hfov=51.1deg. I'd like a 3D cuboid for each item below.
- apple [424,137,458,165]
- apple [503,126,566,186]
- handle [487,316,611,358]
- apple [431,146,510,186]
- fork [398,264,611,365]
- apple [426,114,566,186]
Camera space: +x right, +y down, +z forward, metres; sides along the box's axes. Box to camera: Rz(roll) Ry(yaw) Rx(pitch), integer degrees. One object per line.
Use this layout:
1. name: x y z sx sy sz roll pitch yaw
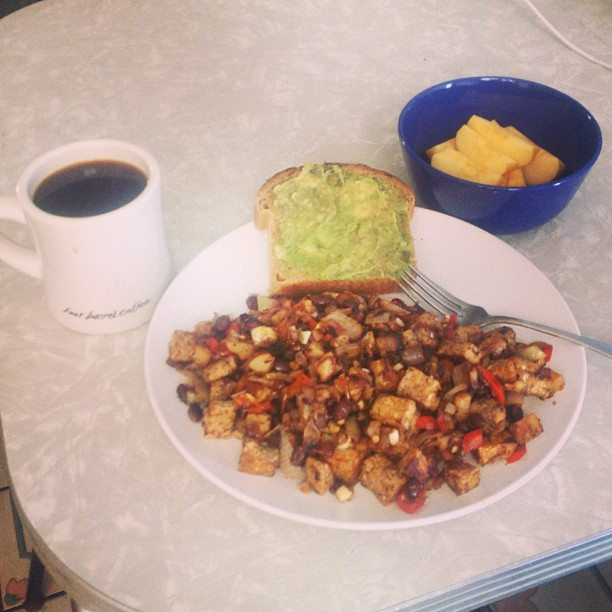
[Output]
1. apple: 0.320 -0.362 1.499 0.056 0.039 0.051 -24 31 25
2. apple: 0.515 -0.372 1.520 0.036 0.089 0.096 -38 41 -7
3. handle: 0.464 0.062 1.249 0.233 0.027 0.027 16 15 26
4. apple: 0.356 -0.303 1.416 0.166 0.034 0.053 32 56 25
5. fork: 0.387 0.022 1.294 0.446 0.049 0.047 21 74 15
6. apple: 0.406 -0.365 1.458 0.163 0.070 0.268 42 74 7
